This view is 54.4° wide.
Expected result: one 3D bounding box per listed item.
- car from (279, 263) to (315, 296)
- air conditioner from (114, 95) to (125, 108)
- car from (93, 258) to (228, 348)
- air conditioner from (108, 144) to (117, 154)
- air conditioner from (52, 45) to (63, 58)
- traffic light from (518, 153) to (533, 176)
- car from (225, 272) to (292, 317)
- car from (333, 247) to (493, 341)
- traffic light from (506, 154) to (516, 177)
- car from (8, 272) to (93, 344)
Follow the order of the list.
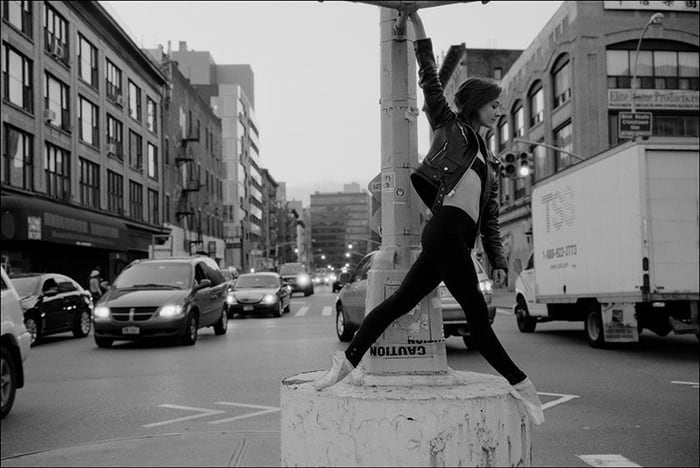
[{"bbox_3d":[-3.176,2.994,43.267,1.129,1.411,2.832,-1,-10,4],"label":"car"},{"bbox_3d":[-14.004,-8.049,41.436,0.357,0.835,1.355,0,1,-10],"label":"air conditioner"},{"bbox_3d":[-4.648,1.828,18.162,1.709,1.587,3.559,-3,-10,6],"label":"car"},{"bbox_3d":[-13.912,-4.894,39.646,0.281,0.356,0.583,-7,14,-9],"label":"air conditioner"},{"bbox_3d":[-14.126,-8.724,32.744,0.200,0.675,0.692,-10,5,4],"label":"air conditioner"},{"bbox_3d":[6.862,-2.718,26.549,0.206,0.900,0.802,-2,-26,43],"label":"traffic light"},{"bbox_3d":[-3.535,2.455,26.223,2.029,1.566,2.632,0,1,5],"label":"car"},{"bbox_3d":[0.998,1.586,16.076,1.918,1.867,3.851,1,1,-16],"label":"car"},{"bbox_3d":[6.172,-2.558,26.079,0.411,0.883,0.816,0,27,6],"label":"traffic light"},{"bbox_3d":[-8.068,1.958,18.393,1.238,1.321,2.809,-2,-10,1],"label":"car"}]
